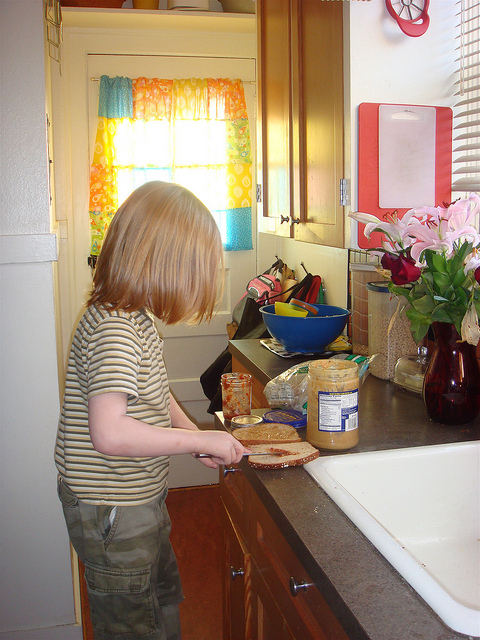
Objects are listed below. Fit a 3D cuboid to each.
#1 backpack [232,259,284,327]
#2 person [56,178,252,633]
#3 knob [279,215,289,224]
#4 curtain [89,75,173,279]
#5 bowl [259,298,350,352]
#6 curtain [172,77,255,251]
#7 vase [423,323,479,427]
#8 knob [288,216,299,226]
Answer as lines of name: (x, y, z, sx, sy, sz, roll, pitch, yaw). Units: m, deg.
backpack: (0.082, -0.137, 2.519, 0.169, 0.326, 0.231, 24, 18, -13)
person: (-0.181, 0.214, 1.012, 0.335, 0.949, 0.441, -3, 6, -20)
knob: (0.154, -0.356, 1.845, 0.011, 0.031, 0.034, -5, 7, -43)
curtain: (-0.578, -0.763, 2.784, 0.455, 1.015, 0.141, -3, 5, -17)
bowl: (0.209, 0.020, 1.729, 0.276, 0.161, 0.313, -1, 6, 1)
curtain: (-0.143, -0.850, 2.850, 0.435, 0.907, 0.068, -2, 5, -7)
vase: (0.408, 0.105, 0.976, 0.099, 0.200, 0.156, 0, 5, 7)
knob: (0.178, -0.331, 1.752, 0.011, 0.023, 0.036, -6, 5, -34)
